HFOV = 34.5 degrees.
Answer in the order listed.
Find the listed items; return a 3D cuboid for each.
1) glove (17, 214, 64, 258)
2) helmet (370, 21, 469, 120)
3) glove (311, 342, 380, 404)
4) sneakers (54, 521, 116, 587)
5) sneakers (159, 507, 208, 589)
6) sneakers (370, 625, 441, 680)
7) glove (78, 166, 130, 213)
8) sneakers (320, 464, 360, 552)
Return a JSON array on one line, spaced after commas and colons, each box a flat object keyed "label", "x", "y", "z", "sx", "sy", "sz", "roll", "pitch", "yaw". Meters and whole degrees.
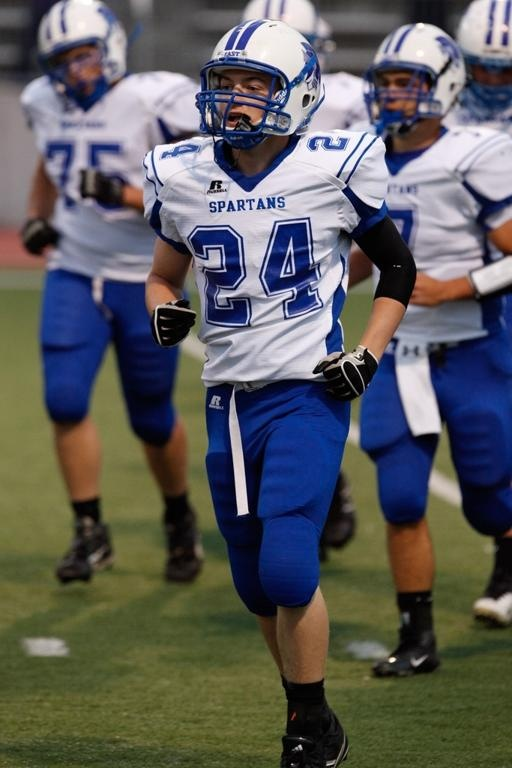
[{"label": "glove", "x": -0.817, "y": -0.566, "z": 3.135, "sx": 0.176, "sy": 0.135, "sz": 0.082, "roll": 39, "pitch": 8, "yaw": 16}, {"label": "helmet", "x": 0.522, "y": -0.974, "z": 2.604, "sx": 0.350, "sy": 0.278, "sz": 0.249, "roll": -14, "pitch": 23, "yaw": -27}, {"label": "glove", "x": 0.135, "y": -0.028, "z": 1.525, "sx": 0.140, "sy": 0.055, "sz": 0.108, "roll": -5, "pitch": 12, "yaw": 36}, {"label": "sneakers", "x": -0.544, "y": 0.506, "z": 2.536, "sx": 0.140, "sy": 0.158, "sz": 0.378, "roll": -4, "pitch": -4, "yaw": 6}, {"label": "sneakers", "x": -0.296, "y": 0.674, "z": 3.356, "sx": 0.121, "sy": 0.218, "sz": 0.326, "roll": -16, "pitch": 23, "yaw": 13}, {"label": "sneakers", "x": 0.429, "y": 0.747, "z": 2.347, "sx": 0.254, "sy": 0.149, "sz": 0.083, "roll": 8, "pitch": -7, "yaw": -37}, {"label": "glove", "x": -0.497, "y": -0.670, "z": 2.853, "sx": 0.137, "sy": 0.058, "sz": 0.172, "roll": 16, "pitch": -5, "yaw": 44}, {"label": "sneakers", "x": 0.380, "y": 0.578, "z": 3.692, "sx": 0.165, "sy": 0.422, "sz": 0.198, "roll": -15, "pitch": -26, "yaw": 22}]
